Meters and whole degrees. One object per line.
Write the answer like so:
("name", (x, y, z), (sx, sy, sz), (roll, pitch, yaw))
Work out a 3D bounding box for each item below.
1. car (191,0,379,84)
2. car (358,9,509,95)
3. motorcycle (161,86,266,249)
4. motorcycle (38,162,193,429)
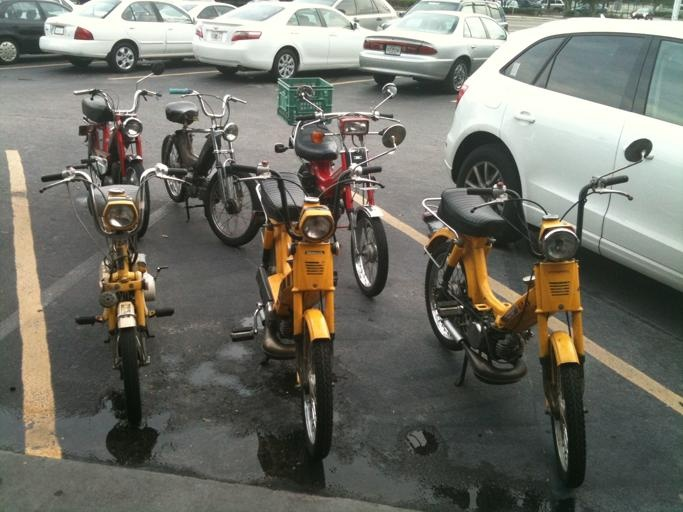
("car", (-1.216, -5.166, 15.660), (4.306, 1.343, 1.916), (-16, 28, -37))
("car", (2.671, -5.162, 15.952), (2.342, 1.668, 5.188), (21, 30, 34))
("motorcycle", (-1.568, -1.131, 7.272), (0.861, 1.457, 2.393), (-3, 22, -34))
("motorcycle", (-1.527, 0.163, 4.612), (0.789, 1.523, 1.436), (-7, 25, -16))
